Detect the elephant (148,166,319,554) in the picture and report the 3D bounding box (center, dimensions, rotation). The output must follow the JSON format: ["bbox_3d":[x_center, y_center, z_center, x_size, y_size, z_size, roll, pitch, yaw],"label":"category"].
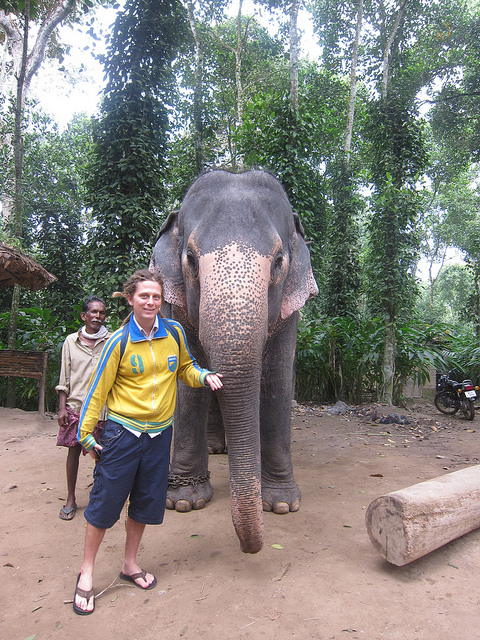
[{"bbox_3d":[-0.082,0.151,3.424,0.921,1.871,2.569,0,2,-2],"label":"elephant"}]

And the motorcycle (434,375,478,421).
[{"bbox_3d":[3.410,1.210,8.097,0.410,0.526,0.783,11,0,-10],"label":"motorcycle"}]

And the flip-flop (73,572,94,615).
[{"bbox_3d":[-0.642,1.107,2.092,0.078,0.132,0.102,-2,2,-19],"label":"flip-flop"}]

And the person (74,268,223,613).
[{"bbox_3d":[-0.410,0.470,2.183,0.557,1.377,0.477,2,4,-27],"label":"person"}]

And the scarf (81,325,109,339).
[{"bbox_3d":[-0.905,0.068,3.195,0.166,0.087,0.134,-2,1,-28],"label":"scarf"}]
